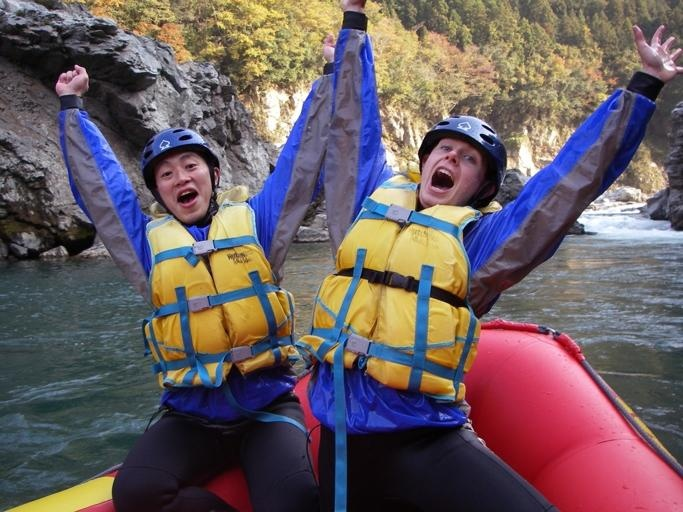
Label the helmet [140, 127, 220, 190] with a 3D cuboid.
[{"bbox_3d":[-0.961,-0.624,3.547,0.324,0.408,0.213,-12,30,-5],"label":"helmet"}]

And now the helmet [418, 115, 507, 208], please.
[{"bbox_3d":[0.671,-0.560,3.296,0.398,0.402,0.513,17,27,3],"label":"helmet"}]
